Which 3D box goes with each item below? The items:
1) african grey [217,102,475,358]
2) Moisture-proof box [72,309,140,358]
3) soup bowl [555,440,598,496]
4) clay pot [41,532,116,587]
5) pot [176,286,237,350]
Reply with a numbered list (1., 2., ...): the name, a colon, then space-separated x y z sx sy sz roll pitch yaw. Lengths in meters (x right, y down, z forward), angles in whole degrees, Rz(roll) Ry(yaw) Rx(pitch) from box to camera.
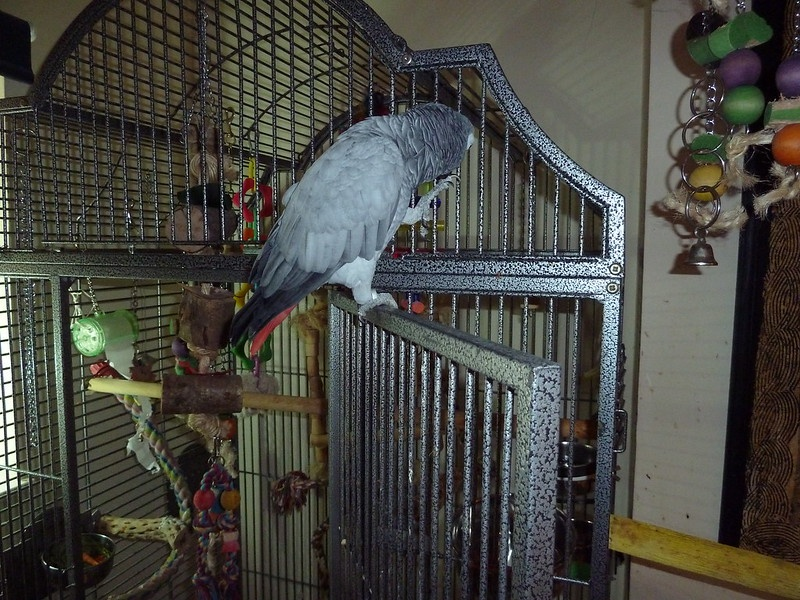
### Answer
1. african grey: -0.126 -0.156 1.605 0.499 0.689 0.340 7 15 -8
2. Moisture-proof box: -0.837 0.092 1.956 0.129 0.171 0.109 11 -1 -31
3. soup bowl: 0.464 0.489 1.876 0.117 0.090 0.122 -1 2 0
4. clay pot: -0.955 0.787 2.014 0.214 0.114 0.234 0 3 0
5. pot: -0.503 0.049 1.841 0.143 0.178 0.149 2 8 0
